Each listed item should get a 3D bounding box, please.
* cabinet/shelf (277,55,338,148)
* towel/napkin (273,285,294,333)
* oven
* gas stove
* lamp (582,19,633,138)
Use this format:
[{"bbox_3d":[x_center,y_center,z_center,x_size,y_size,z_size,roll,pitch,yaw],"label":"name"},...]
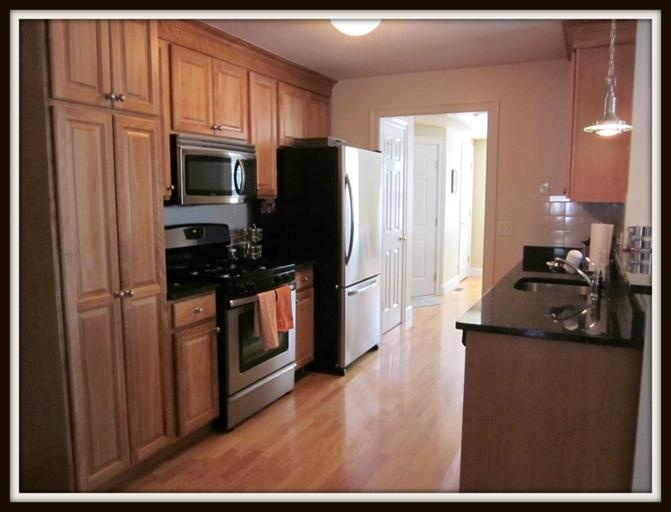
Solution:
[{"bbox_3d":[-0.254,-1.303,4.280,0.260,0.650,0.750,2,5,20],"label":"cabinet/shelf"},{"bbox_3d":[-0.354,0.356,3.428,0.051,0.361,0.323,-1,1,16],"label":"towel/napkin"},{"bbox_3d":[-0.652,0.609,3.456,0.554,0.806,0.700,3,9,30],"label":"oven"},{"bbox_3d":[-0.735,0.134,3.169,0.364,0.132,0.413,3,8,23],"label":"gas stove"},{"bbox_3d":[1.420,-0.901,2.625,0.191,0.486,0.192,-4,19,13],"label":"lamp"}]
